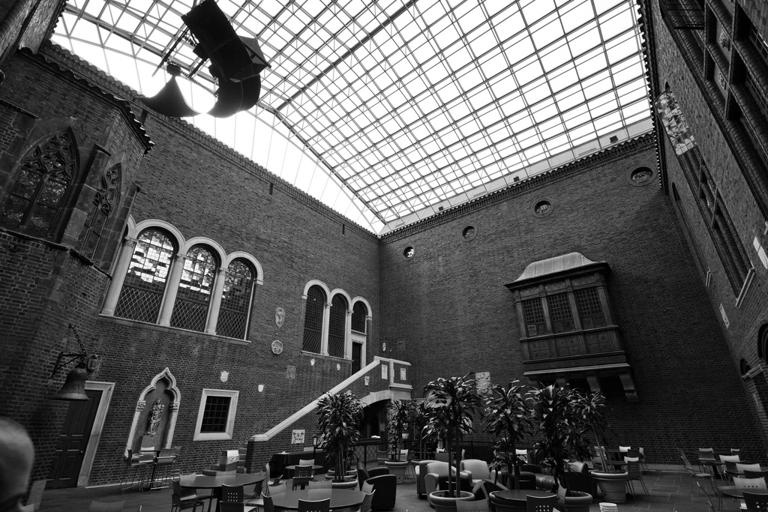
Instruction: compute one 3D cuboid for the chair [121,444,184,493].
[{"bbox_3d":[-9.776,9.029,17.781,2.145,1.666,1.832,18,-32,-32],"label":"chair"}]
